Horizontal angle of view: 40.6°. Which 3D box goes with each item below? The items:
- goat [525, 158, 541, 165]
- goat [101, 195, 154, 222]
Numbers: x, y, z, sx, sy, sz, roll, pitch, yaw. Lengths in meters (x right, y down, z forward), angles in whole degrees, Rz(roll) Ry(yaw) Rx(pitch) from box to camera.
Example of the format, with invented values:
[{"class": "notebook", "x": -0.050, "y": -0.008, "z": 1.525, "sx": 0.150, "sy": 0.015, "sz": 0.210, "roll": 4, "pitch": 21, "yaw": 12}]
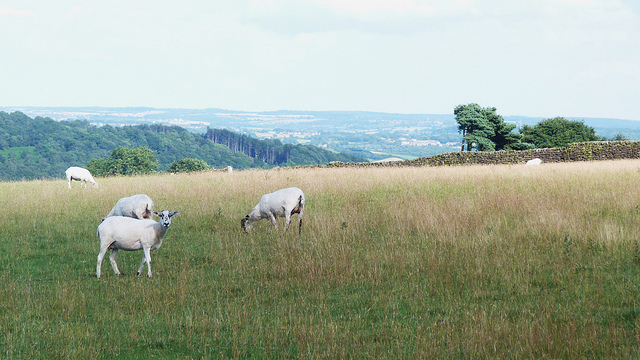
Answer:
[{"class": "goat", "x": 21.648, "y": -1.830, "z": 88.141, "sx": 1.833, "sy": 0.934, "sz": 0.518, "roll": -6, "pitch": 15, "yaw": -37}, {"class": "goat", "x": -14.869, "y": 2.025, "z": 63.612, "sx": 4.764, "sy": 2.418, "sz": 1.550, "roll": -5, "pitch": -8, "yaw": 19}]
